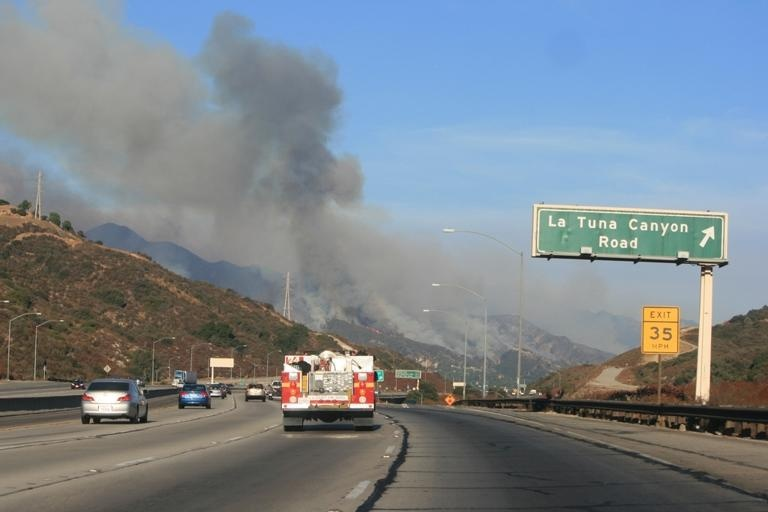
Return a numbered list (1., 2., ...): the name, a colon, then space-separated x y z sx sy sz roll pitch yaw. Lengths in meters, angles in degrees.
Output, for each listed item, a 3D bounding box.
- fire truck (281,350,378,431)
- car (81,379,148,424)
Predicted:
1. fire truck: -2.397 6.446 46.449 4.832 3.300 5.785 0 -3 0
2. car: -14.450 7.389 50.382 2.945 2.098 6.602 3 -1 -6
